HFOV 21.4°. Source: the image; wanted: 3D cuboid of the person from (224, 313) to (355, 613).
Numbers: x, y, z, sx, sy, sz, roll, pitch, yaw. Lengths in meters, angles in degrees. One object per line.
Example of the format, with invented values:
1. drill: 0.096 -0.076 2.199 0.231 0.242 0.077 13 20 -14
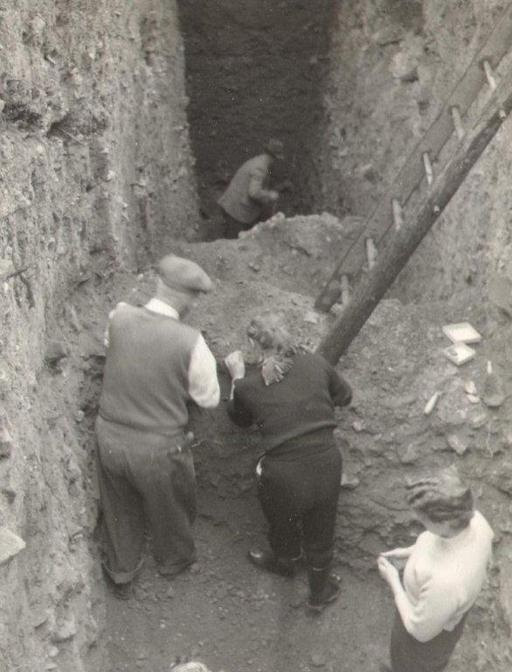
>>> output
1. person: 0.139 0.646 6.828 0.573 1.346 0.776 -6 34 -13

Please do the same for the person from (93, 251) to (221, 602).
1. person: -0.512 0.435 6.801 0.576 1.895 0.573 -7 37 -19

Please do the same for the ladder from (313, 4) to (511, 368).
1. ladder: 0.875 -0.865 7.328 0.618 1.393 1.731 26 40 32

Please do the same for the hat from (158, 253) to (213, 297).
1. hat: -0.345 -0.290 6.547 0.248 0.171 0.145 5 34 3

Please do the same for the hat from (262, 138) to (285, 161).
1. hat: 0.101 -1.157 8.292 0.117 0.112 0.096 1 34 -4
